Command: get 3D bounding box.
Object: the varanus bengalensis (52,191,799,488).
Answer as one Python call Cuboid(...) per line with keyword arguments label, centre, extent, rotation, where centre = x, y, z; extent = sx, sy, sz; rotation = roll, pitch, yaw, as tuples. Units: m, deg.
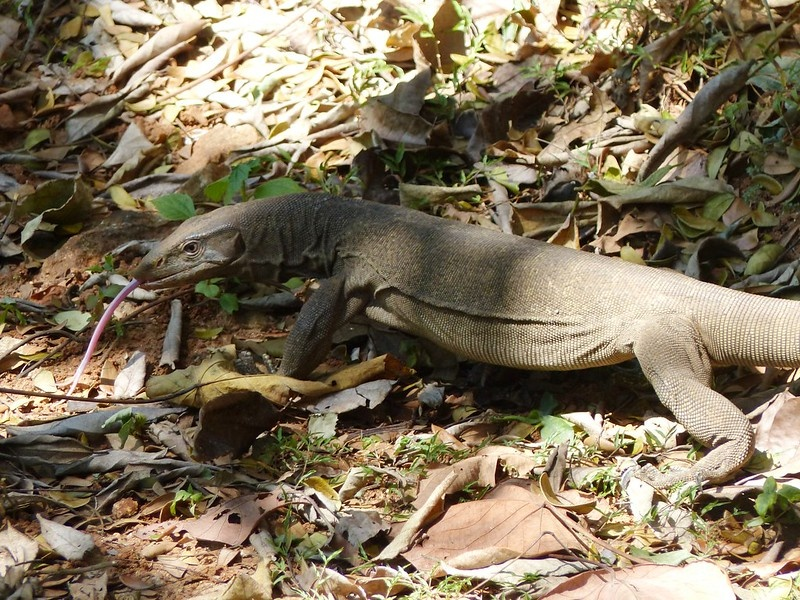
Cuboid(label="varanus bengalensis", centre=(0.553, 0.011, 3.828), extent=(4.880, 0.798, 1.389), rotation=(8, 18, 15))
